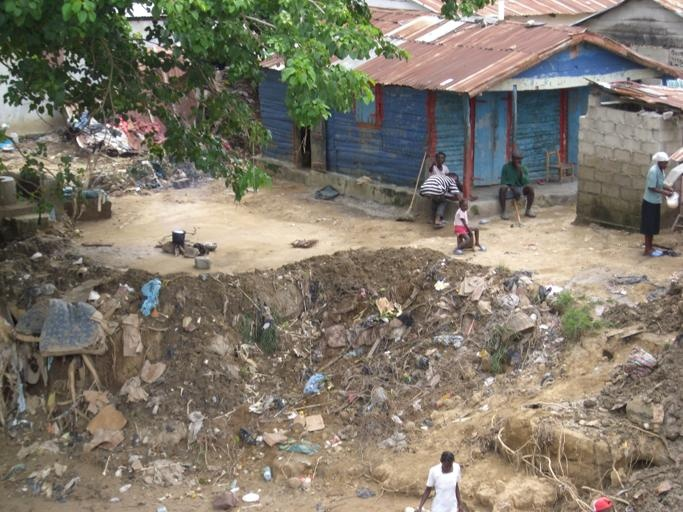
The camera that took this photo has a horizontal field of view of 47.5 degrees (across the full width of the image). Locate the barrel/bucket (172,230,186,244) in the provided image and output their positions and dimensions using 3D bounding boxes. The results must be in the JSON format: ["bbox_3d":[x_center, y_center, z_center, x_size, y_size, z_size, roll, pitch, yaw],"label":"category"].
[{"bbox_3d":[-3.299,-0.396,15.698,0.241,0.224,0.233,3,12,-1],"label":"barrel/bucket"}]

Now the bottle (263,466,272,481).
[{"bbox_3d":[-1.194,3.533,12.550,0.135,0.168,0.216,0,16,-9],"label":"bottle"}]

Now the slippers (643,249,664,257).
[{"bbox_3d":[6.012,-0.067,14.845,0.221,0.082,0.188,-5,20,-11],"label":"slippers"}]

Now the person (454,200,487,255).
[{"bbox_3d":[2.533,-0.600,15.519,0.600,1.001,0.513,-2,15,-8],"label":"person"}]

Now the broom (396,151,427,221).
[{"bbox_3d":[1.766,-1.622,18.043,0.441,1.796,0.280,16,-2,21],"label":"broom"}]

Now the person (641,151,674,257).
[{"bbox_3d":[6.051,-1.020,14.798,0.505,1.915,0.577,5,14,28],"label":"person"}]

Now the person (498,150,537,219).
[{"bbox_3d":[4.016,-1.662,17.659,0.878,1.431,0.844,-1,15,-4],"label":"person"}]
